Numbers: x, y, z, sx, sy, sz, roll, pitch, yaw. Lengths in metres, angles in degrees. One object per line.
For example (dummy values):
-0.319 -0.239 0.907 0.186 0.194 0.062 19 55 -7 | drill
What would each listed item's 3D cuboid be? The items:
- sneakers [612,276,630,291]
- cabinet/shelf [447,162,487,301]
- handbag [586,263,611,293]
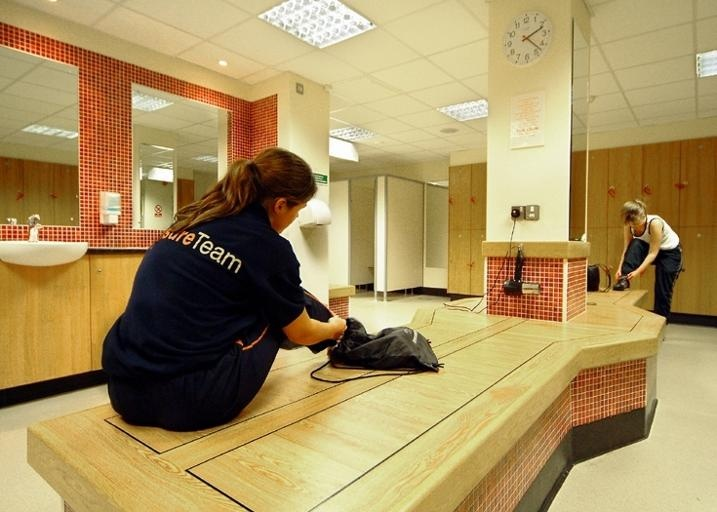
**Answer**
3.191 0.332 5.829 0.114 0.145 0.345 -2 -5 39 | sneakers
1.973 -0.450 8.871 0.982 2.463 0.357 12 17 43 | cabinet/shelf
2.955 0.264 5.912 0.340 0.325 0.340 2 -4 -7 | handbag
